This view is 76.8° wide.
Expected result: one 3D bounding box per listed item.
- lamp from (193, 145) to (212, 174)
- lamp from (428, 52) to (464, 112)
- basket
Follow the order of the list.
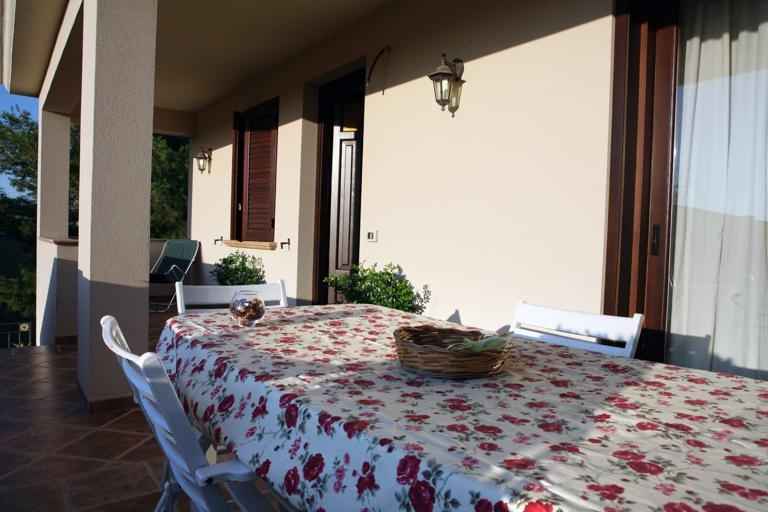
[{"bbox_3d":[-2.957,-1.568,7.921,0.173,0.390,0.416,-4,10,-38],"label":"lamp"},{"bbox_3d":[0.520,-1.433,3.981,0.220,0.513,0.356,6,9,25],"label":"lamp"},{"bbox_3d":[0.244,0.367,1.883,0.266,0.102,0.250,-3,1,17],"label":"basket"}]
